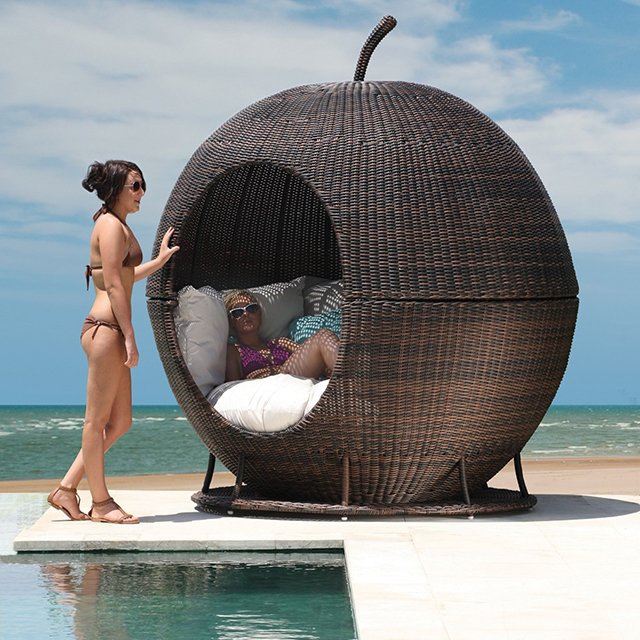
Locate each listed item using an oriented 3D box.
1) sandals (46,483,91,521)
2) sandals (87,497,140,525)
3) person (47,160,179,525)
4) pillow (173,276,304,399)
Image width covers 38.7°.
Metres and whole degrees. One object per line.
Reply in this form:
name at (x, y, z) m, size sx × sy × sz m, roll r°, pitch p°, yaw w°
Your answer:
sandals at (-1.287, 0.933, 4.706) m, size 0.319 × 0.117 × 0.115 m, roll 24°, pitch 1°, yaw -14°
sandals at (-1.050, 0.963, 4.592) m, size 0.323 × 0.084 × 0.108 m, roll -2°, pitch -6°, yaw 22°
person at (-1.063, 0.149, 4.661) m, size 0.650 × 1.907 × 0.913 m, roll 1°, pitch 17°, yaw -8°
pillow at (-0.514, 0.061, 5.608) m, size 0.452 × 0.570 × 1.163 m, roll 7°, pitch 13°, yaw 15°
